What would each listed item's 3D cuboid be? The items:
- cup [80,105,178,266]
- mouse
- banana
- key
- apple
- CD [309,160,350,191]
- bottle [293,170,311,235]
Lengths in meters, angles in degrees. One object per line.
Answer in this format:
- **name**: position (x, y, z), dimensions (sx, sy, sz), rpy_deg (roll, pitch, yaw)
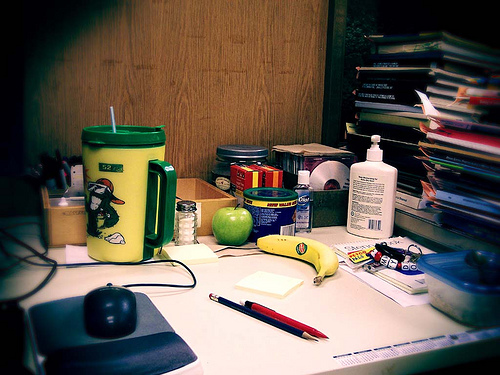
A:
- **cup**: position (-0.230, 0.008, 0.879), dimensions (0.186, 0.340, 0.164), rpy_deg (17, 16, 34)
- **mouse**: position (-0.207, 0.180, 0.591), dimensions (0.074, 0.050, 0.081), rpy_deg (-1, 12, -21)
- **banana**: position (0.094, 0.147, 0.886), dimensions (0.161, 0.075, 0.150), rpy_deg (3, 9, -9)
- **key**: position (0.278, 0.153, 0.873), dimensions (0.132, 0.033, 0.155), rpy_deg (2, 6, -35)
- **apple**: position (-0.042, 0.084, 0.989), dimensions (0.101, 0.105, 0.095), rpy_deg (5, 11, 25)
- **CD**: position (0.229, -0.036, 1.157), dimensions (0.099, 0.094, 0.025), rpy_deg (-12, 21, -15)
- **bottle**: position (0.142, 0.033, 1.095), dimensions (0.053, 0.160, 0.112), rpy_deg (5, 11, 7)
